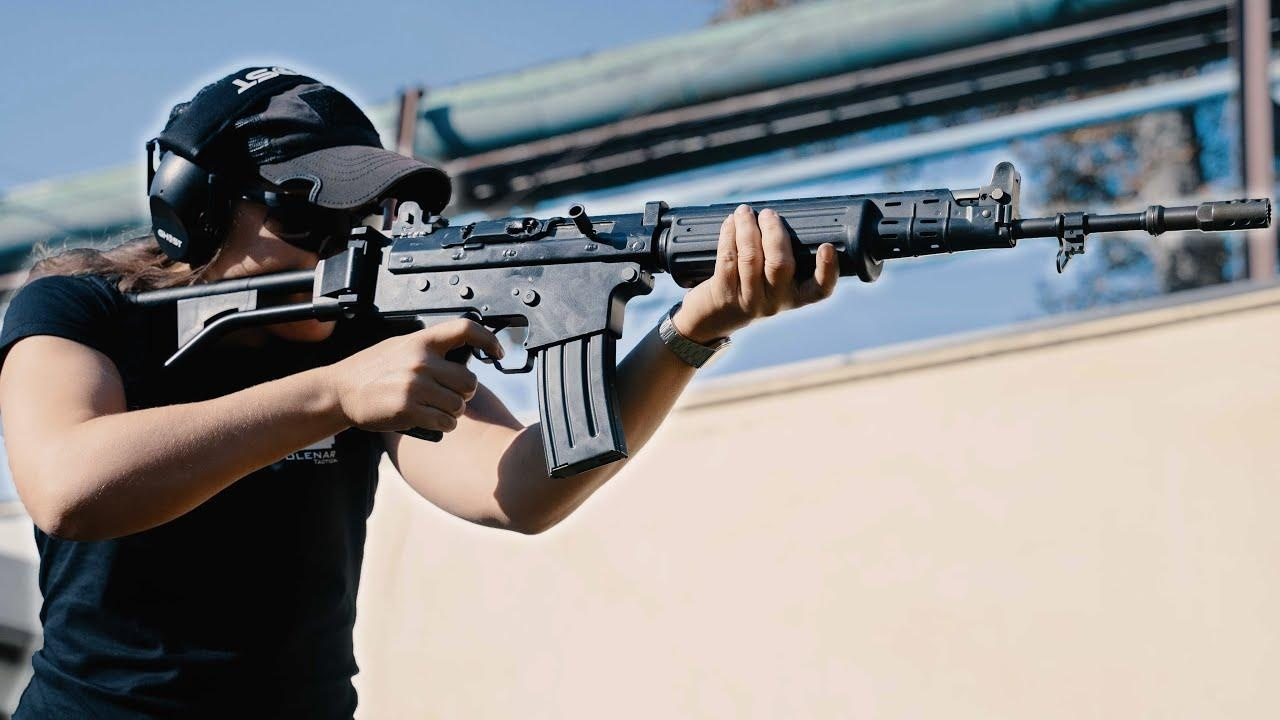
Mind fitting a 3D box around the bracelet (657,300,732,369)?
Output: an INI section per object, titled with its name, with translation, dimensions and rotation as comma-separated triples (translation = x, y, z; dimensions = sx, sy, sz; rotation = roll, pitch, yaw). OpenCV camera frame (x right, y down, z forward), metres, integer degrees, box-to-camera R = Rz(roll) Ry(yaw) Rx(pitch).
[bracelet]
translation = 0.200, -0.077, 8.747
dimensions = 0.294, 0.108, 0.292
rotation = 31, 10, -42
